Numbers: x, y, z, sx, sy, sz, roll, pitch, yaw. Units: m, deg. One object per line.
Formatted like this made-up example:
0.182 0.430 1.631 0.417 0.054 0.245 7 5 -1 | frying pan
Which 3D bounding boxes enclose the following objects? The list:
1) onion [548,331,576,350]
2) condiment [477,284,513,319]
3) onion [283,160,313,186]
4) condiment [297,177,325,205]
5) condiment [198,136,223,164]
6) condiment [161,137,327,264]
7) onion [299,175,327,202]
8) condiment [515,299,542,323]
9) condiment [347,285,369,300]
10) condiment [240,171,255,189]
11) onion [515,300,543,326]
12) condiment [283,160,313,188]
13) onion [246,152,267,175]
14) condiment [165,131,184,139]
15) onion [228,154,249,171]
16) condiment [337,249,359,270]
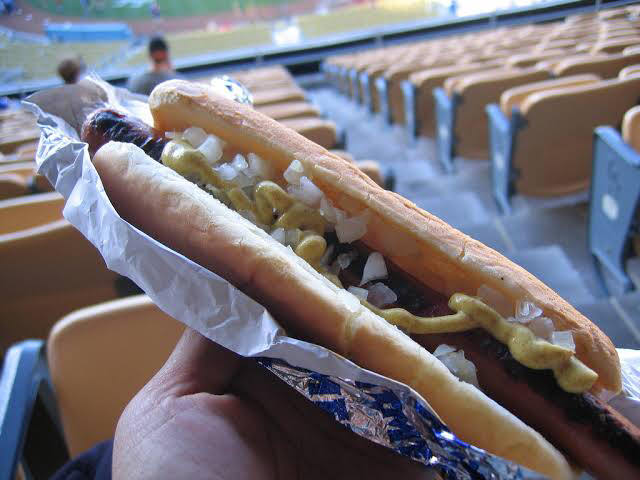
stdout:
1.072 0.443 2.671 0.107 0.072 0.093 -9 34 8 | onion
0.809 0.280 2.758 0.108 0.175 0.041 -45 1 -18 | condiment
-0.114 -0.324 2.885 0.099 0.129 0.045 -6 8 0 | onion
-0.042 -0.231 2.843 0.098 0.122 0.039 -50 13 -16 | condiment
-0.528 -0.444 2.931 0.113 0.124 0.038 -21 6 -22 | condiment
-0.312 -0.290 2.999 0.272 0.843 0.453 -58 0 -23 | condiment
-0.037 -0.238 2.869 0.093 0.125 0.041 -60 14 -23 | onion
0.931 0.309 2.654 0.080 0.101 0.096 4 59 12 | condiment
0.181 0.240 2.787 0.062 0.056 0.026 17 73 20 | condiment
-0.350 -0.296 2.936 0.070 0.075 0.055 -5 30 1 | condiment
0.928 0.323 2.699 0.095 0.116 0.099 3 13 -25 | onion
-0.112 -0.320 2.885 0.107 0.138 0.049 -5 8 2 | condiment
-0.306 -0.375 2.926 0.067 0.103 0.026 -23 -8 -18 | onion
-0.741 -0.530 3.034 0.072 0.019 0.056 -1 72 -1 | condiment
-0.396 -0.377 2.952 0.081 0.079 0.078 -41 22 -7 | onion
0.133 0.092 2.893 0.094 0.063 0.023 -39 5 -24 | condiment
